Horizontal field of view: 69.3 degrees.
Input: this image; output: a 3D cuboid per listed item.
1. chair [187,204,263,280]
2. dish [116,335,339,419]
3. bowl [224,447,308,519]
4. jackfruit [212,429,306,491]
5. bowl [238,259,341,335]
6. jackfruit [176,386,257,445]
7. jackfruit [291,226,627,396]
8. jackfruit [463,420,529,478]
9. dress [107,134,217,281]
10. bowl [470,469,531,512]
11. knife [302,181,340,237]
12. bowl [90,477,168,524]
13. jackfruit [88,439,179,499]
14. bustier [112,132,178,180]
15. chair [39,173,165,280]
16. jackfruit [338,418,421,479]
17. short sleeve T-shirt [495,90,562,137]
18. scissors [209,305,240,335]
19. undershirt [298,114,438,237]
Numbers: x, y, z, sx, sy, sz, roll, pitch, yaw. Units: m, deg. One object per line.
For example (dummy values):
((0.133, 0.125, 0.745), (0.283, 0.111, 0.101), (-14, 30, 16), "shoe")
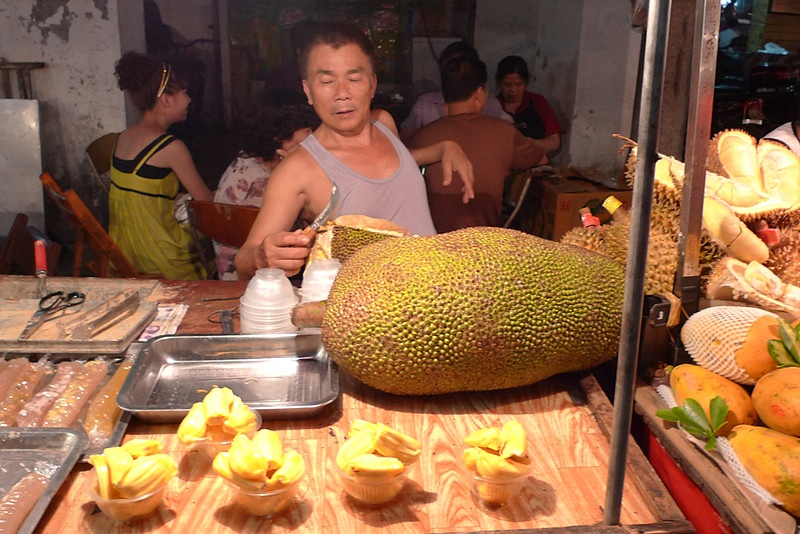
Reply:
((-0.785, -0.118, 2.573), (0.292, 0.394, 0.280), (5, 39, 5), "chair")
((-0.434, 0.287, 1.506), (0.384, 0.048, 0.239), (0, 29, -4), "dish")
((-0.278, 0.449, 1.178), (0.140, 0.074, 0.133), (1, 26, 0), "bowl")
((-0.282, 0.383, 1.138), (0.168, 0.088, 0.093), (-6, 20, -17), "jackfruit")
((-0.313, 0.086, 1.609), (0.292, 0.152, 0.160), (-1, 16, -7), "bowl")
((-0.394, 0.325, 1.224), (0.141, 0.089, 0.122), (-22, 33, -38), "jackfruit")
((0.222, 0.136, 1.555), (0.851, 0.407, 0.452), (-4, 18, -20), "jackfruit")
((0.197, 0.371, 1.148), (0.098, 0.052, 0.107), (0, 25, -3), "jackfruit")
((-1.426, -0.392, 3.612), (0.721, 0.848, 0.674), (4, 21, -9), "dress")
((0.200, 0.429, 1.154), (0.101, 0.069, 0.095), (0, 18, 0), "bowl")
((-0.247, -0.211, 1.956), (0.070, 0.032, 0.397), (29, 30, -4), "knife")
((-0.534, 0.458, 1.125), (0.102, 0.048, 0.096), (1, 21, 0), "bowl")
((-0.532, 0.391, 1.136), (0.120, 0.059, 0.121), (18, 22, 34), "jackfruit")
((-1.428, -0.621, 3.309), (0.328, 0.245, 0.246), (-23, 46, -27), "bustier")
((-1.698, -0.221, 3.285), (0.588, 0.710, 0.430), (-18, 31, -36), "chair")
((-0.042, 0.360, 1.155), (0.124, 0.052, 0.116), (0, 23, -8), "jackfruit")
((0.926, -1.141, 4.435), (0.574, 0.379, 0.271), (-3, 17, 26), "short sleeve T-shirt")
((-0.525, 0.161, 1.716), (0.067, 0.011, 0.162), (-5, 8, -20), "scissors")
((-0.173, -0.358, 2.417), (0.296, 0.488, 0.359), (15, 67, 10), "undershirt")
